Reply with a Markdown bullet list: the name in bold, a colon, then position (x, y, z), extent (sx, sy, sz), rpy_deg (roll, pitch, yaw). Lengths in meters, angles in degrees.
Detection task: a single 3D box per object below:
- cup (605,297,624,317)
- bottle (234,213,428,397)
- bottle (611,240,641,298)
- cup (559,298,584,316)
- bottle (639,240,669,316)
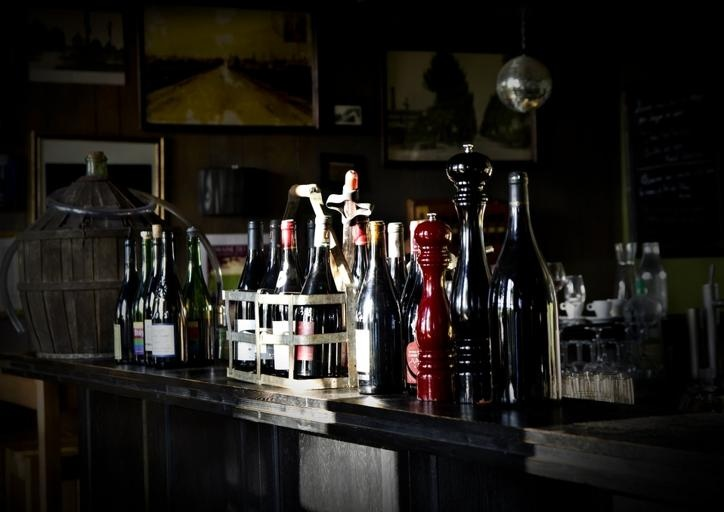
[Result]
- **cup**: position (1.179, 0.234, 4.162), extent (0.078, 0.070, 0.066), rpy_deg (-7, -6, 25)
- **bottle**: position (-0.139, 0.150, 2.416), extent (0.424, 0.351, 0.439), rpy_deg (0, -3, 0)
- **bottle**: position (1.288, 0.067, 4.378), extent (0.124, 0.276, 0.514), rpy_deg (-9, 6, 17)
- **cup**: position (1.001, 0.221, 4.235), extent (0.116, 0.092, 0.099), rpy_deg (0, -2, 10)
- **bottle**: position (1.364, 0.127, 4.201), extent (0.110, 0.378, 0.267), rpy_deg (-8, 6, 23)
